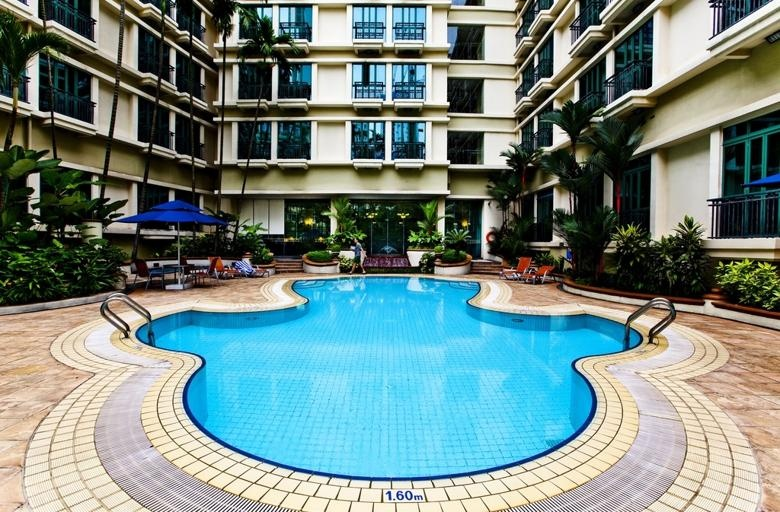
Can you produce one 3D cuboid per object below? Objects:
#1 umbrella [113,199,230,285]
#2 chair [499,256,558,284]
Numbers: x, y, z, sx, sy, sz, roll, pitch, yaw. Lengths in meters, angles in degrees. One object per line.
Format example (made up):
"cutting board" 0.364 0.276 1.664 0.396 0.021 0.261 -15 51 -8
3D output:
"umbrella" -8.837 -0.658 21.762 2.746 3.435 4.704 -2 8 -12
"chair" 6.671 0.735 24.160 1.389 0.826 1.958 -1 -1 -30
